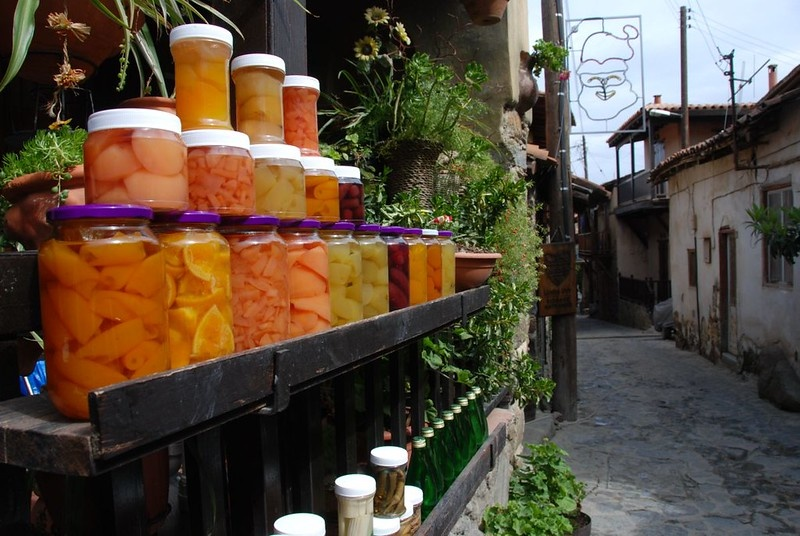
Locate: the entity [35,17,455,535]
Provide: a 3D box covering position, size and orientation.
[{"bbox_3d":[-0.338,-0.153,1.809,0.802,0.885,0.810,-4,6,-7],"label":"entity"}]

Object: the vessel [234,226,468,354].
[{"bbox_3d":[-0.239,0.043,1.644,0.261,0.302,0.276,-3,3,0],"label":"vessel"}]

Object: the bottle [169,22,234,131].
[{"bbox_3d":[-0.479,-0.453,1.597,0.142,0.255,0.146,-1,2,0],"label":"bottle"}]

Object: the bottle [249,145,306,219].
[{"bbox_3d":[-0.304,-0.212,1.682,0.165,0.184,0.168,-1,0,2],"label":"bottle"}]

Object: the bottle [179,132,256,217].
[{"bbox_3d":[-0.428,-0.223,1.621,0.178,0.175,0.180,-1,-1,-1],"label":"bottle"}]

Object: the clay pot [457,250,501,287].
[{"bbox_3d":[0.324,0.005,2.758,0.158,0.079,0.160,-1,0,0],"label":"clay pot"}]

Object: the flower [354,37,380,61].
[{"bbox_3d":[-0.164,-1.132,3.376,0.130,0.137,0.048,6,1,12],"label":"flower"}]

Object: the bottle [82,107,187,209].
[{"bbox_3d":[-0.554,-0.215,1.429,0.207,0.206,0.216,4,5,38],"label":"bottle"}]
